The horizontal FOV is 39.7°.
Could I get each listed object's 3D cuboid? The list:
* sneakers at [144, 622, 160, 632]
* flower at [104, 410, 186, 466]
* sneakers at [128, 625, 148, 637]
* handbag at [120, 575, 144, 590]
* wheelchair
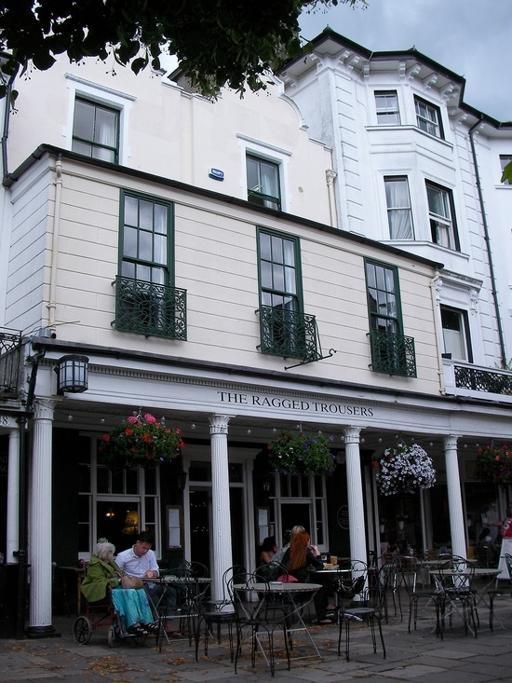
[{"bbox_3d":[-1.209,3.265,8.088,0.094,0.108,0.272,13,-29,-29],"label":"sneakers"},{"bbox_3d":[-1.487,1.305,9.251,0.850,0.566,0.845,2,-2,-13],"label":"flower"},{"bbox_3d":[-1.332,3.244,7.930,0.096,0.104,0.279,19,-35,-39],"label":"sneakers"},{"bbox_3d":[-1.407,2.755,8.092,0.256,0.097,0.148,8,-19,6],"label":"handbag"},{"bbox_3d":[-1.598,2.976,8.158,0.916,0.855,0.786,-5,-15,10],"label":"wheelchair"}]
